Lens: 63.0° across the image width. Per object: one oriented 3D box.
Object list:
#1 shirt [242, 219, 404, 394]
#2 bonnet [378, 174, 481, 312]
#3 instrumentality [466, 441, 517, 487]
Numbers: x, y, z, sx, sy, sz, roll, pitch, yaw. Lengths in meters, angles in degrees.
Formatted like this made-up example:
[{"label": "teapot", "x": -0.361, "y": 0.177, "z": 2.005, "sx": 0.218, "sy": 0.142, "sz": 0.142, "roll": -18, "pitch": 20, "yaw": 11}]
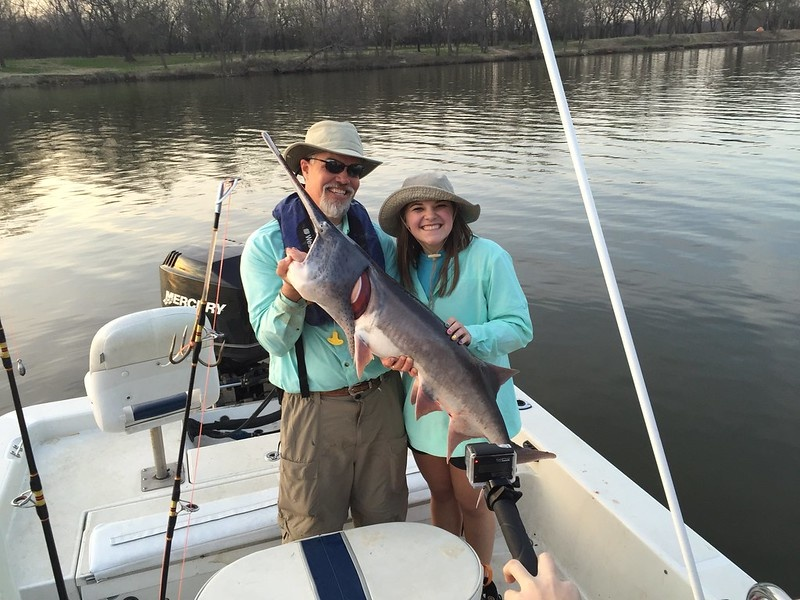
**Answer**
[{"label": "shirt", "x": -0.379, "y": -0.006, "z": 4.177, "sx": 1.183, "sy": 1.142, "sz": 0.645, "roll": -7, "pitch": 16, "yaw": -31}, {"label": "bonnet", "x": 0.345, "y": -0.543, "z": 4.062, "sx": 0.520, "sy": 0.516, "sz": 0.462, "roll": -13, "pitch": 16, "yaw": -30}, {"label": "instrumentality", "x": 0.470, "y": 0.813, "z": 3.302, "sx": 0.234, "sy": 0.213, "sz": 0.152, "roll": -6, "pitch": 30, "yaw": -7}]
